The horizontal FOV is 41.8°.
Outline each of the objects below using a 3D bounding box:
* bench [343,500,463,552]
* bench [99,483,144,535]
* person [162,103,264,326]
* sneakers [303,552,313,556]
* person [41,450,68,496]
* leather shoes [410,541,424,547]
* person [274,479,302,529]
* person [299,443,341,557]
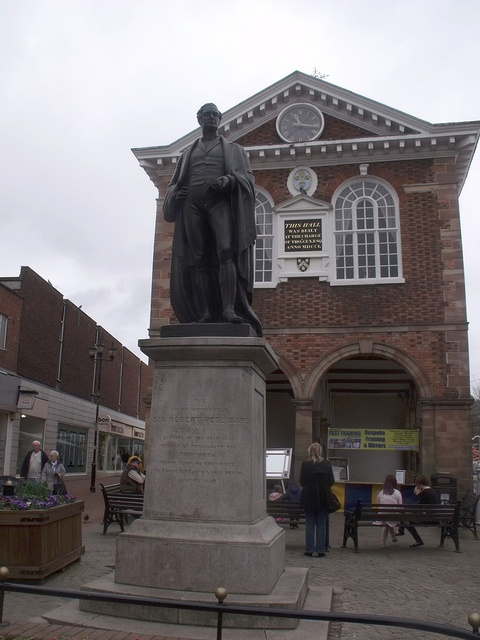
[{"bbox_3d":[2.767,3.457,10.674,2.041,0.834,0.959,2,-12,-8],"label":"bench"},{"bbox_3d":[-2.243,3.565,11.642,0.585,0.686,1.658,10,-17,-7],"label":"bench"},{"bbox_3d":[-0.276,-0.992,5.968,0.875,2.164,0.630,1,-12,0],"label":"person"},{"bbox_3d":[1.023,3.475,9.331,0.123,0.066,0.199,0,-12,4],"label":"sneakers"},{"bbox_3d":[-3.366,2.915,11.372,0.492,1.091,0.364,-2,8,-23],"label":"person"},{"bbox_3d":[3.069,3.868,10.888,0.268,0.093,0.105,9,19,-33],"label":"leather shoes"},{"bbox_3d":[0.999,3.471,11.798,0.415,0.856,0.319,-2,3,-11],"label":"person"},{"bbox_3d":[1.205,2.734,9.604,0.551,1.655,0.922,-1,-12,6],"label":"person"}]
